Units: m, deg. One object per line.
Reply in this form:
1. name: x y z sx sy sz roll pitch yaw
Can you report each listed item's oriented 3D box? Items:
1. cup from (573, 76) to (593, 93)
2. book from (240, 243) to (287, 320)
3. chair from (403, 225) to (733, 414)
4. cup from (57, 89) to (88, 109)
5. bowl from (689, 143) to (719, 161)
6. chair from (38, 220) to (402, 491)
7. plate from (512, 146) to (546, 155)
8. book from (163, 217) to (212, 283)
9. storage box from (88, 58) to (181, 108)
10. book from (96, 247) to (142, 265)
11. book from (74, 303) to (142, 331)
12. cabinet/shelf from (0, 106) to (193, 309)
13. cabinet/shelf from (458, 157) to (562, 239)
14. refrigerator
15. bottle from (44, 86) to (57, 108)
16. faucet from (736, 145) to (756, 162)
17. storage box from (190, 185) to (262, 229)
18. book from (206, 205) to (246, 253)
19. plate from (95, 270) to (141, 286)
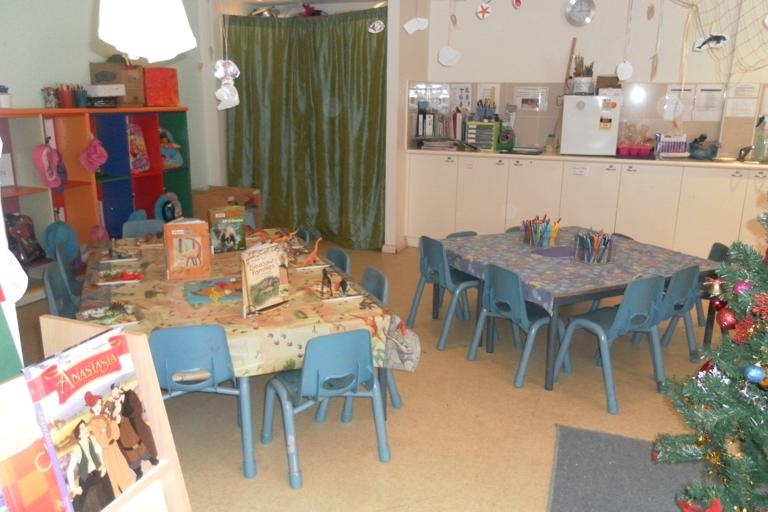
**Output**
1. cup: 2.228 -1.894 6.173 0.198 0.137 0.193 -2 13 0
2. book: -0.682 0.159 3.153 0.062 0.434 0.399 7 11 44
3. chair: 1.446 0.357 4.381 1.822 0.887 1.300 -3 16 -6
4. cup: -2.780 -1.400 4.940 0.196 0.144 0.199 0 12 0
5. bowl: 3.479 -1.127 6.036 0.230 0.153 0.223 -1 8 0
6. chair: -0.822 0.280 3.426 2.089 0.582 1.179 1 16 6
7. plate: 1.705 -1.257 6.549 0.369 0.079 0.397 3 16 15
8. book: -1.290 -0.048 3.647 0.366 0.357 0.325 6 15 23
9. storage box: -2.444 -1.688 5.473 0.780 0.422 0.259 -9 19 -25
10. book: -1.865 0.007 3.890 0.172 0.050 0.163 -4 15 -18
11. book: -1.521 0.328 3.054 0.295 0.069 0.335 -10 18 -30
12. cabinet/shelf: -2.437 -0.432 4.563 0.569 1.738 1.917 5 8 23
13. cabinet/shelf: 1.515 -0.783 6.741 0.450 1.023 1.162 17 -10 -37
14. refrigerator: 2.211 -1.509 6.476 0.759 0.636 0.762 -1 10 -5
15. bottle: -3.009 -1.432 4.988 0.106 0.179 0.320 -11 19 -30
16. faucet: 3.860 -1.094 5.898 0.190 0.192 0.102 -6 36 10
17. storage box: -1.751 -0.647 6.296 0.726 0.505 0.727 4 6 31
18. book: -1.132 -0.179 3.959 0.323 0.370 0.091 -11 17 -32
19. plate: -1.677 0.140 3.513 0.180 0.053 0.130 -4 13 -29
